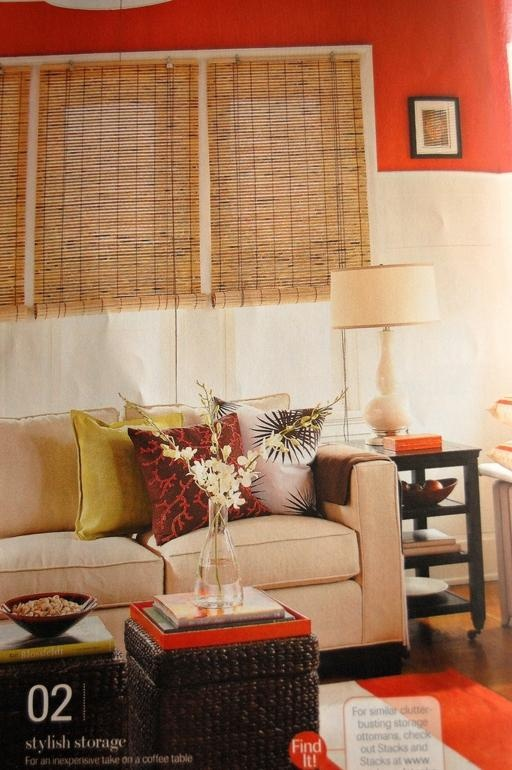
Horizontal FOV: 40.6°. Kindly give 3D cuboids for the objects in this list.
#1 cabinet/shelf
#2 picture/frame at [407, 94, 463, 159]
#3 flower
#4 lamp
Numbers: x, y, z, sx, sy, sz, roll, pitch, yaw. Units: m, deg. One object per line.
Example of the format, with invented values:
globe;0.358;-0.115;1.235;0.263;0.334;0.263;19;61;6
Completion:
cabinet/shelf;0.756;0.607;3.257;0.618;1.173;0.686;0;-5;-11
picture/frame;0.878;-1.289;3.452;0.311;0.342;0.024;-2;2;-6
flower;-0.085;0.348;2.242;0.627;0.652;0.245;2;-6;-10
lamp;0.575;-0.132;3.024;0.466;0.735;0.474;-3;3;-7
